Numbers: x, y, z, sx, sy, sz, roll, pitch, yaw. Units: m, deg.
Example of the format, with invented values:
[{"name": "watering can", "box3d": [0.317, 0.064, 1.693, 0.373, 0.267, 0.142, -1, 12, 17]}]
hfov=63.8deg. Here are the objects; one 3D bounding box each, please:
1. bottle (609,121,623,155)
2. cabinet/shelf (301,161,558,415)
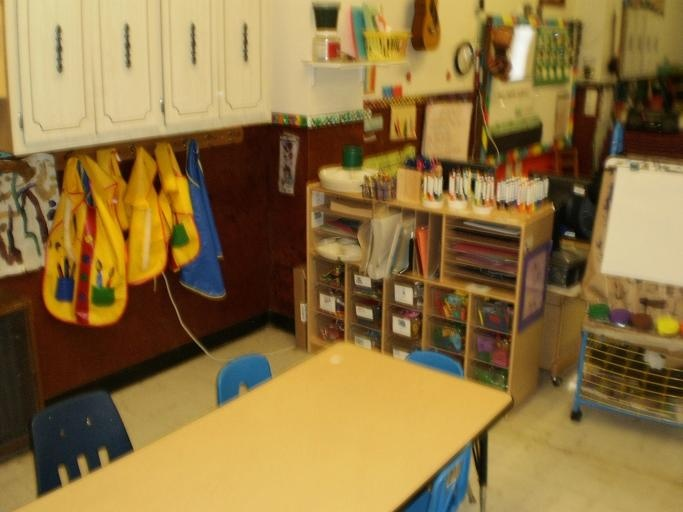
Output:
[{"name": "bottle", "box3d": [2.535, -1.084, 5.035, 0.111, 0.283, 0.148, 6, 21, 20]}, {"name": "cabinet/shelf", "box3d": [0.634, 0.197, 3.612, 1.392, 1.327, 0.480, 14, 19, 33]}]
